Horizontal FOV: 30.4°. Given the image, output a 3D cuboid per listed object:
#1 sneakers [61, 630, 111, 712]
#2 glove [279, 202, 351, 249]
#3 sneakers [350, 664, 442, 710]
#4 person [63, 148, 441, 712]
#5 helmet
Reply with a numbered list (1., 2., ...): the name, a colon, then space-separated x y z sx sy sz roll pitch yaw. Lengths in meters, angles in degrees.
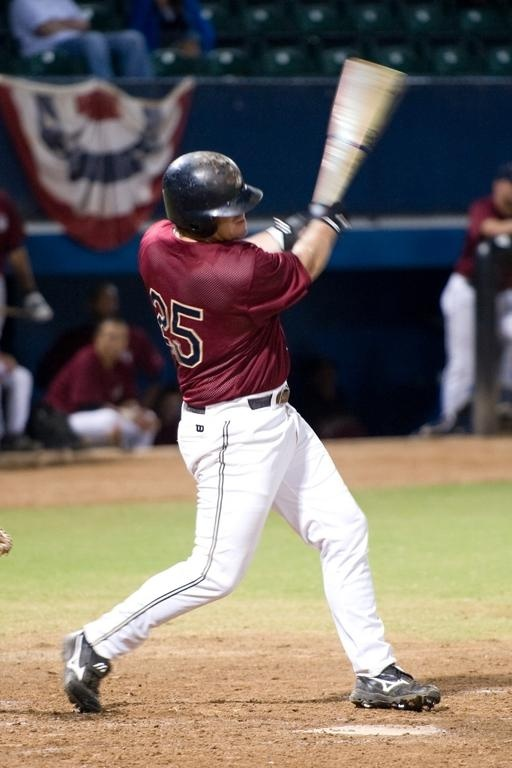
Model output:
1. sneakers: -0.372 0.634 2.092 0.109 0.193 0.072 -10 5 5
2. glove: 0.139 -0.371 2.180 0.126 0.055 0.146 -27 2 26
3. sneakers: 0.306 0.675 2.111 0.219 0.089 0.081 0 0 7
4. person: 0.000 0.109 2.108 0.830 1.235 0.374 1 11 0
5. helmet: -0.095 -0.410 2.040 0.213 0.190 0.163 0 10 -3
